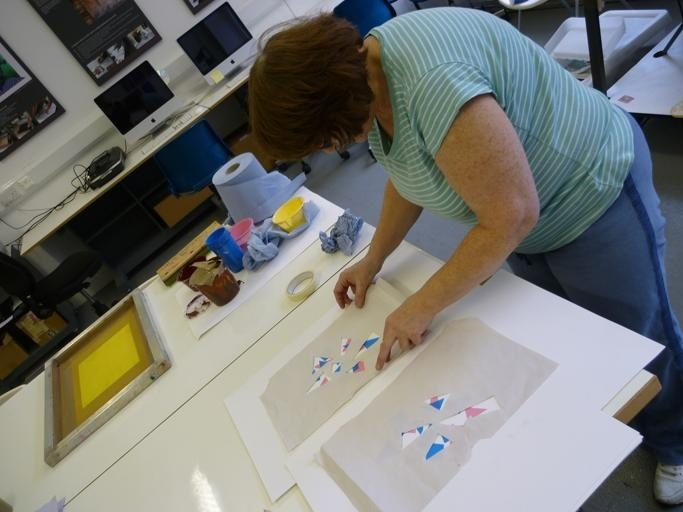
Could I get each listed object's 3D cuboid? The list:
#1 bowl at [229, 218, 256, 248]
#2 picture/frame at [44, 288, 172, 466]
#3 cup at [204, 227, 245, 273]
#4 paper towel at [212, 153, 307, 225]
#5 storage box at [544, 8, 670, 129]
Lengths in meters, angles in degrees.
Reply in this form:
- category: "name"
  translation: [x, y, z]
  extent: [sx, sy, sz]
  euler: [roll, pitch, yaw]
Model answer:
- category: "bowl"
  translation: [-0.384, -0.083, 2.156]
  extent: [0.089, 0.077, 0.112]
  euler: [-20, 44, 19]
- category: "picture/frame"
  translation: [-0.872, 0.455, 2.044]
  extent: [0.447, 0.045, 0.525]
  euler: [-45, 37, 1]
- category: "cup"
  translation: [-0.430, -0.017, 2.041]
  extent: [0.074, 0.120, 0.081]
  euler: [-28, 28, 16]
- category: "paper towel"
  translation: [-0.333, -0.306, 2.296]
  extent: [0.358, 0.215, 0.260]
  euler: [-35, 40, 2]
- category: "storage box"
  translation: [1.479, -1.176, 3.009]
  extent: [0.548, 0.242, 0.826]
  euler: [10, 58, 48]
